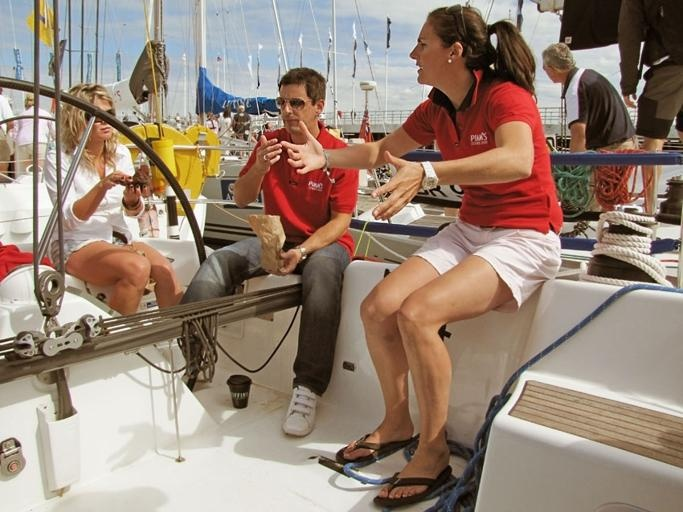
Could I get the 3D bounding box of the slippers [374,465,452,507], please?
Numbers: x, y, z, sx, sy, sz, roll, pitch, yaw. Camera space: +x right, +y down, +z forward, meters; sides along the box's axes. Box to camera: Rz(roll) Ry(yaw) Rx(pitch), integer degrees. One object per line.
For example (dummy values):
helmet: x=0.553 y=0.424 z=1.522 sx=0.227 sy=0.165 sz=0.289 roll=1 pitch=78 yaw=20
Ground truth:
slippers: x=0.256 y=0.761 z=1.722 sx=0.248 sy=0.054 sz=0.118 roll=-6 pitch=4 yaw=-34

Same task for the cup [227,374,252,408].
cup: x=-0.473 y=0.648 z=2.352 sx=0.108 sy=0.114 sz=0.111 roll=-2 pitch=-2 yaw=0

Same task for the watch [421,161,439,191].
watch: x=0.291 y=-0.276 z=1.740 sx=0.046 sy=0.065 sz=0.084 roll=-30 pitch=19 yaw=-5

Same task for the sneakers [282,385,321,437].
sneakers: x=-0.169 y=0.664 z=2.209 sx=0.131 sy=0.138 sz=0.364 roll=12 pitch=8 yaw=3

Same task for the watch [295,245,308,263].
watch: x=-0.193 y=-0.020 z=2.400 sx=0.045 sy=0.074 sz=0.071 roll=1 pitch=-1 yaw=-21

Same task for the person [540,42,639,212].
person: x=1.983 y=-1.133 z=4.321 sx=0.526 sy=0.537 sz=1.581 roll=3 pitch=-33 yaw=28

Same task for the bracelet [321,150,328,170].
bracelet: x=-0.071 y=-0.416 z=2.178 sx=0.021 sy=0.064 sz=0.054 roll=-1 pitch=-1 yaw=-25

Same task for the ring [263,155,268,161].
ring: x=-0.354 y=-0.454 z=2.343 sx=0.005 sy=0.024 sz=0.023 roll=1 pitch=2 yaw=-44

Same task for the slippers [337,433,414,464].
slippers: x=0.129 y=0.718 z=1.968 sx=0.289 sy=0.063 sz=0.119 roll=-2 pitch=-1 yaw=-23

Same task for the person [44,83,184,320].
person: x=-1.184 y=-0.268 z=2.577 sx=0.605 sy=1.212 sz=0.897 roll=-8 pitch=16 yaw=-30
